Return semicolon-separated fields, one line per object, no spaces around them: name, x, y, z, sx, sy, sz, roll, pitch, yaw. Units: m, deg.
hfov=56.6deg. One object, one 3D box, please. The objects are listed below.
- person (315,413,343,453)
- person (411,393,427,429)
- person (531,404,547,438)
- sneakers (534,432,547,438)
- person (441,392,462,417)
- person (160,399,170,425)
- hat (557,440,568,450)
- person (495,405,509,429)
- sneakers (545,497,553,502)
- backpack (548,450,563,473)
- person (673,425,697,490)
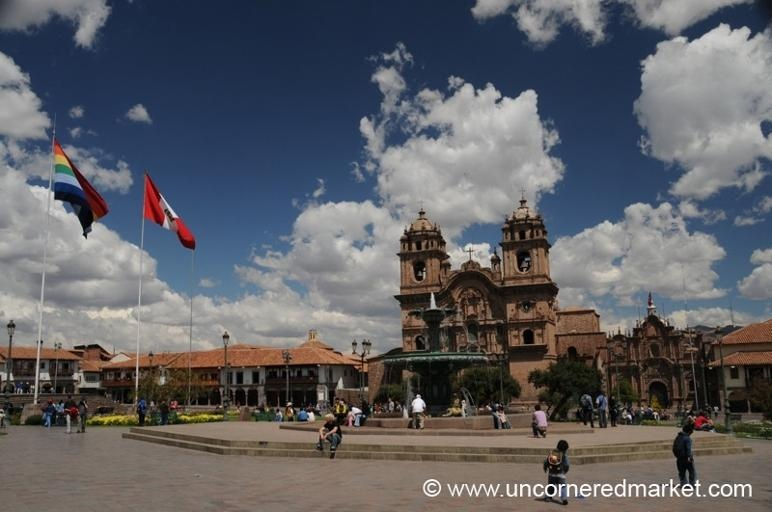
person;-2.125;6.556;26.237;0.861;1.531;2.444;2;-16;-7
person;1.377;6.809;31.281;0.506;1.400;0.907;0;-16;-1
person;6.270;6.764;29.455;0.590;1.310;1.539;-3;-16;10
sneakers;6.225;7.210;28.957;0.571;0.290;0.168;-11;-12;38
person;3.197;7.272;34.984;0.885;1.086;2.424;-1;-16;5
person;-11.849;8.305;38.118;0.417;1.296;1.945;5;-17;-17
hat;5.270;5.663;21.513;0.300;0.350;0.367;-16;-24;39
person;5.118;7.036;31.583;0.568;1.065;1.069;-3;-16;9
sneakers;4.730;7.062;20.926;0.182;0.142;0.247;-3;-31;11
backpack;4.937;6.076;21.193;0.491;0.671;0.462;0;-21;13
person;9.411;6.206;22.594;0.561;1.937;1.197;-7;-18;24
